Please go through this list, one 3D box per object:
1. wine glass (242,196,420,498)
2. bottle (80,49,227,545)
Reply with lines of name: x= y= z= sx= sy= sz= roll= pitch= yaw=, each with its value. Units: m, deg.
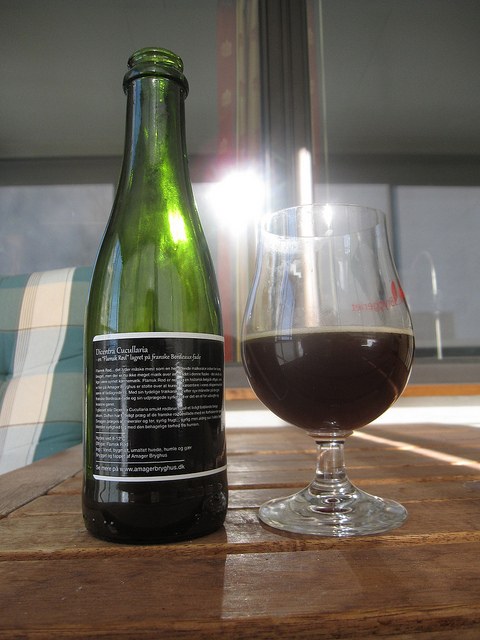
wine glass: x=0.058 y=0.028 z=0.410 sx=0.119 sy=0.192 sz=0.114 roll=-4 pitch=-13 yaw=20
bottle: x=-0.063 y=-0.025 z=0.404 sx=0.100 sy=0.299 sz=0.167 roll=-2 pitch=-4 yaw=-2
